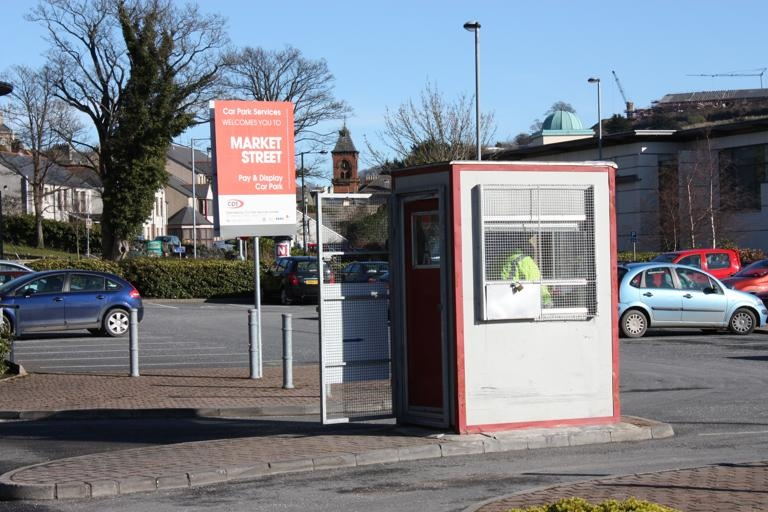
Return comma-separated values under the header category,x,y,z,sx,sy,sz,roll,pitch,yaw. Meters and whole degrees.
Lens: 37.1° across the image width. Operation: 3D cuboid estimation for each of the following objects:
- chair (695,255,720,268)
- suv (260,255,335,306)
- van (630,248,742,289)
category,x,y,z,sx,sy,sz,roll,pitch,yaw
chair,10.792,0.205,38.059,0.695,0.370,0.423,3,-3,-6
suv,-3.528,0.978,44.012,1.833,1.500,4.028,-1,4,-17
van,10.427,0.591,37.975,2.681,1.309,1.558,3,0,2
